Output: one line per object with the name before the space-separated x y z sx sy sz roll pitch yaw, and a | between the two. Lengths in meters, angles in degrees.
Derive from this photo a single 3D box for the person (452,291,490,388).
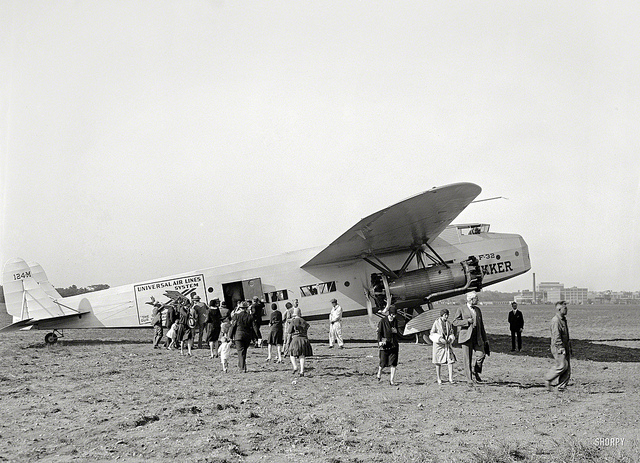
person | 4.094 2.830 15.074 0.695 2.454 0.853 -6 -9 40

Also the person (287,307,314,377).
person | -0.588 3.167 16.383 0.691 1.926 1.105 0 -7 -3

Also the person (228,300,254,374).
person | -2.411 3.134 17.070 0.634 2.097 1.595 0 -7 -8
